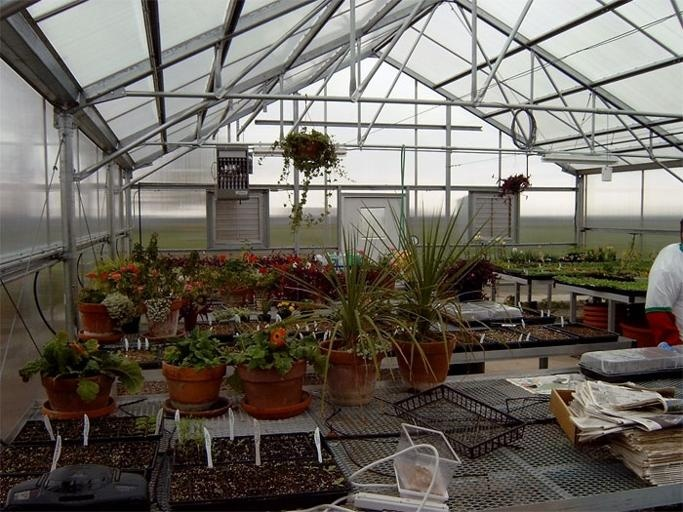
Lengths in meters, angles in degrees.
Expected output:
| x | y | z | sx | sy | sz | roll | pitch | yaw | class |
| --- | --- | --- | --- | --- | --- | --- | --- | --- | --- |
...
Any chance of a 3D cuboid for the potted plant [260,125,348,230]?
| x | y | z | sx | sy | sz | roll | pitch | yaw | class |
| --- | --- | --- | --- | --- | --- | --- | --- | --- | --- |
| -0.355 | -1.124 | 6.076 | 0.630 | 0.677 | 0.556 | 4 | 4 | 43 | potted plant |
